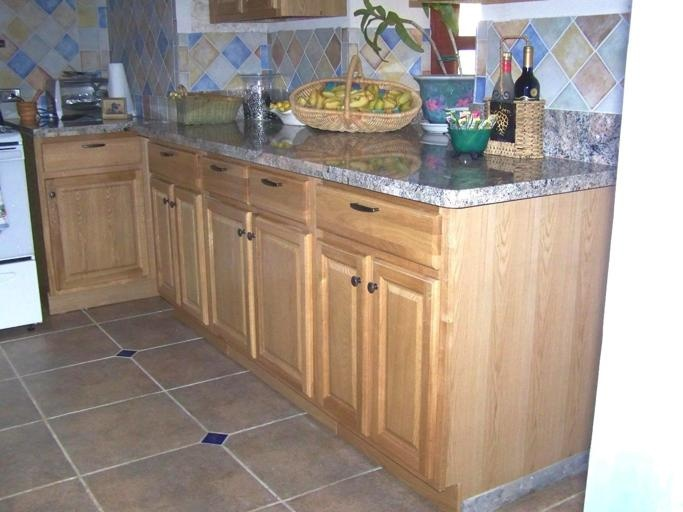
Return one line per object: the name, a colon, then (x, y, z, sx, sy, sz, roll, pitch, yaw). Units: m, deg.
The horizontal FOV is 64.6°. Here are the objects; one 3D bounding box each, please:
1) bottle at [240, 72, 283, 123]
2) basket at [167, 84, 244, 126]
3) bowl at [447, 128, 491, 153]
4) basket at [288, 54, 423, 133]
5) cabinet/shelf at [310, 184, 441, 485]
bottle: (-0.553, -1.000, 3.466, 0.219, 0.335, 0.246, -16, 28, -35)
basket: (-0.837, -0.900, 3.242, 0.366, 0.181, 0.288, -6, 19, -23)
bowl: (0.482, -0.434, 2.068, 0.114, 0.064, 0.112, 0, 7, 0)
basket: (0.040, -0.829, 2.738, 0.735, 0.376, 0.535, 19, 29, 38)
cabinet/shelf: (0.118, 0.219, 1.808, 0.372, 0.950, 0.476, -14, 23, -32)
